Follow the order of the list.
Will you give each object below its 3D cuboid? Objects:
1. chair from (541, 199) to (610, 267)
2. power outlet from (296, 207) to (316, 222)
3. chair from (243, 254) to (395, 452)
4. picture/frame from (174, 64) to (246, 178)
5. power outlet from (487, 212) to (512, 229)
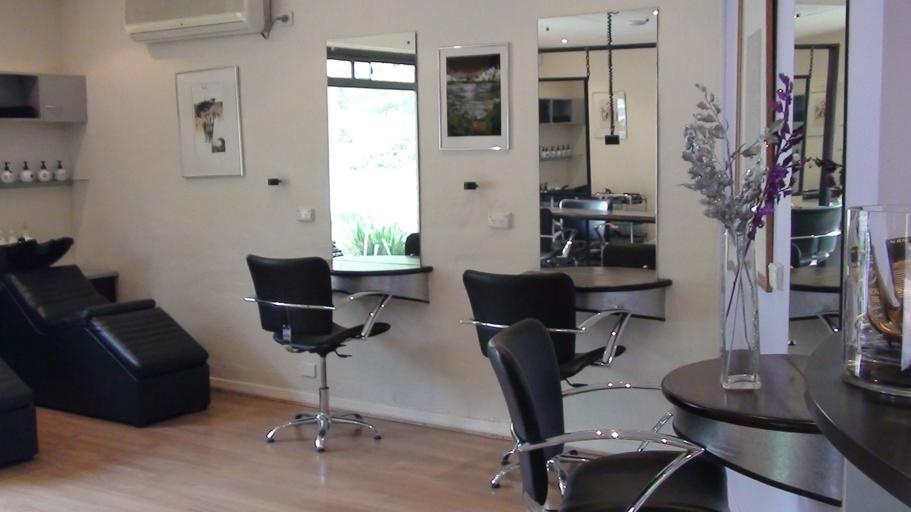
[{"bbox_3d":[0.905,-0.163,5.124,0.537,0.545,0.489,0,-3,12],"label":"chair"},{"bbox_3d":[-1.283,-0.353,5.592,0.135,0.113,0.035,3,10,20],"label":"power outlet"},{"bbox_3d":[-1.076,0.721,5.110,0.944,1.495,0.557,-4,11,-17],"label":"chair"},{"bbox_3d":[-2.216,-1.203,5.869,0.747,0.951,0.126,3,11,21],"label":"picture/frame"},{"bbox_3d":[0.348,-0.270,5.083,0.224,0.137,0.118,0,-1,21],"label":"power outlet"}]
